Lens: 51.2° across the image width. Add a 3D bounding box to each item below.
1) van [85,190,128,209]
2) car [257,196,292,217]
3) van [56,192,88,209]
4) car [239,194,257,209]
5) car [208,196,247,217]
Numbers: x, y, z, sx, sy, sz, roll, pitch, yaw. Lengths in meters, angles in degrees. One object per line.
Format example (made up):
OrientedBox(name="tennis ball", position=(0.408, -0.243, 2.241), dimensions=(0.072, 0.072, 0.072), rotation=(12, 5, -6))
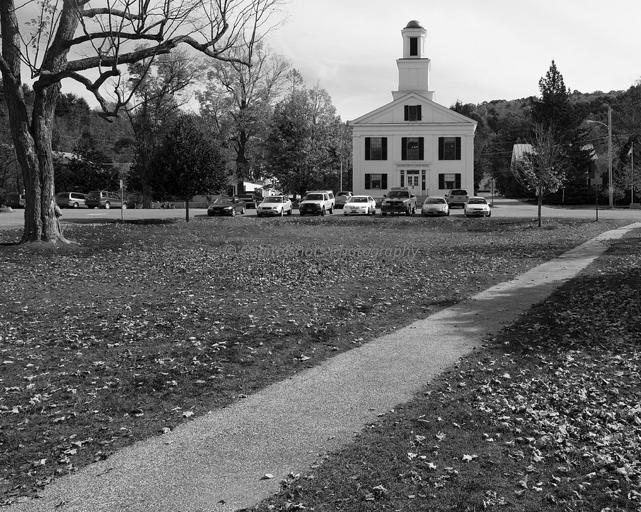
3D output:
OrientedBox(name="van", position=(-19.120, -4.880, 59.158), dimensions=(2.987, 1.671, 4.166), rotation=(-7, 13, -24))
OrientedBox(name="car", position=(-3.317, -3.521, 48.873), dimensions=(1.832, 1.467, 4.603), rotation=(1, 12, 13))
OrientedBox(name="van", position=(-21.811, -4.863, 58.928), dimensions=(1.399, 1.425, 3.472), rotation=(3, 9, 14))
OrientedBox(name="car", position=(-7.006, -5.405, 65.843), dimensions=(1.471, 1.492, 2.724), rotation=(0, -1, -7))
OrientedBox(name="car", position=(-6.830, -3.408, 48.825), dimensions=(2.034, 1.410, 5.256), rotation=(-1, 12, 4))
